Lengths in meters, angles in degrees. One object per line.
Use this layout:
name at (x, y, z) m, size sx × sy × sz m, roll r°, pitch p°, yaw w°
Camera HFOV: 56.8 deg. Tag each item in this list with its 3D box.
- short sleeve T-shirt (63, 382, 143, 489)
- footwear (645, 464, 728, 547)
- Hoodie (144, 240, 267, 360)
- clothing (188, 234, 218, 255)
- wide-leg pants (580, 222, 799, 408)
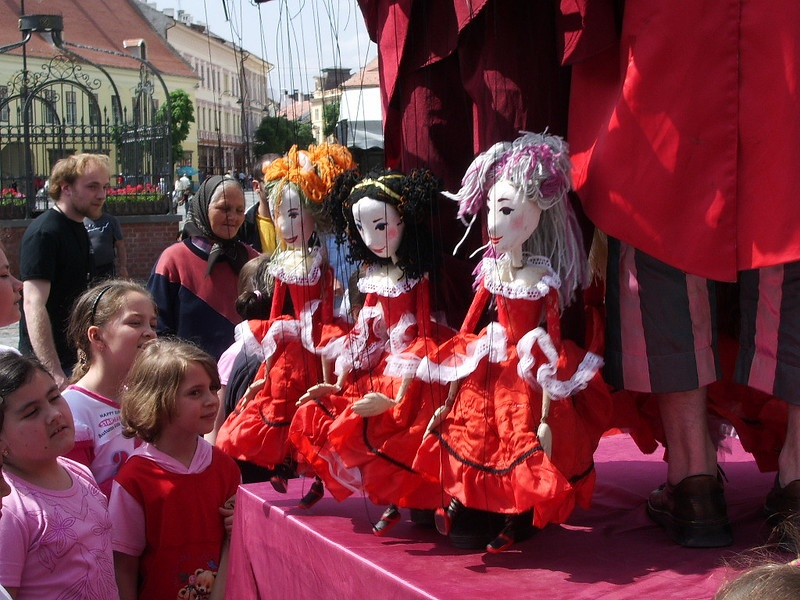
short sleeve T-shirt at (-0.927, 0.438, 2.321) m, size 0.142 × 0.369 × 0.279 m, roll -9°, pitch -5°, yaw 44°
footwear at (0.799, 0.569, 2.068) m, size 0.100 × 0.131 × 0.275 m, roll -3°, pitch 2°, yaw -2°
Hoodie at (-0.795, 0.010, 3.047) m, size 0.409 × 0.440 × 0.167 m, roll 4°, pitch 0°, yaw 0°
clothing at (-0.873, -0.237, 3.329) m, size 0.117 × 0.067 × 0.092 m, roll 35°, pitch 22°, yaw 7°
wide-leg pants at (0.772, 0.024, 2.004) m, size 0.442 × 0.514 × 0.186 m, roll -1°, pitch 0°, yaw -1°
